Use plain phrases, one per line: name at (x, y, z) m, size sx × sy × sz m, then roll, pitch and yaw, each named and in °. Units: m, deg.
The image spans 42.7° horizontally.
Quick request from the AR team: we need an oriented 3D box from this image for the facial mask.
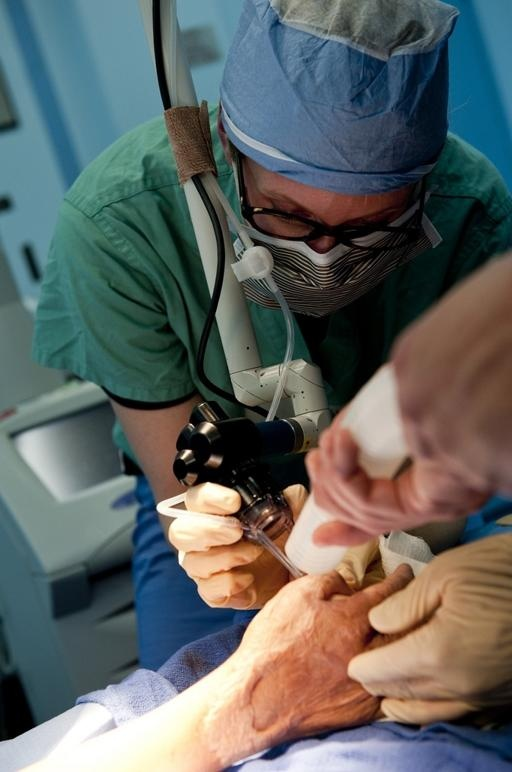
facial mask at (0.138, -0.216, 1.066) m, size 0.301 × 0.226 × 0.246 m, roll 0°, pitch 27°, yaw 6°
